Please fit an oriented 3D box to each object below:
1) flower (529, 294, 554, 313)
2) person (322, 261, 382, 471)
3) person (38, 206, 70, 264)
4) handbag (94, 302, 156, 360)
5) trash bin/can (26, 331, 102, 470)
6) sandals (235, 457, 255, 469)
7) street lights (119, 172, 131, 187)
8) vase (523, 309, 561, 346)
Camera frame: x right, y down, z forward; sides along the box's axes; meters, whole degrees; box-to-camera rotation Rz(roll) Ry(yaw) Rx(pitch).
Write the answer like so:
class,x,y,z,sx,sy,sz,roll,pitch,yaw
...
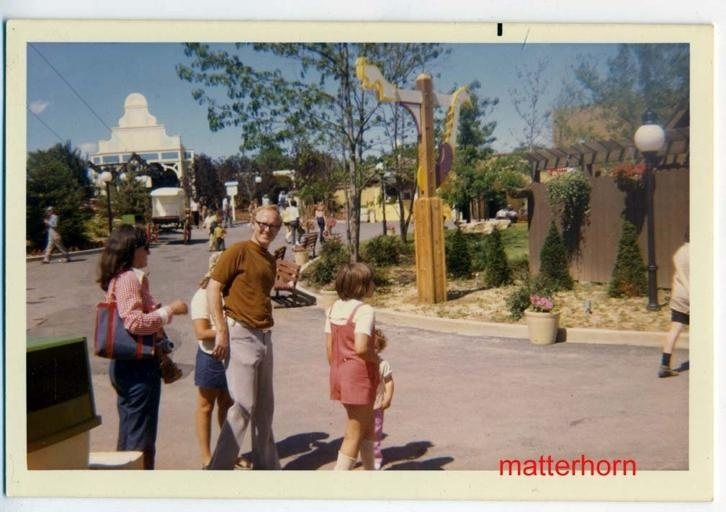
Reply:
class,x,y,z,sx,sy,sz,roll,pitch,yaw
flower,3.102,0.840,12.675,0.314,0.255,0.339,1,3,29
person,-0.121,1.317,8.488,0.611,2.457,0.428,0,3,-3
person,-8.537,-0.573,20.334,0.694,1.600,2.215,-1,3,-23
handbag,-2.770,0.897,8.558,0.549,0.596,0.225,-2,-15,-5
trash bin/can,-3.573,1.767,9.344,1.203,2.059,1.287,0,-3,-23
sandals,-1.498,2.644,9.265,0.213,0.113,0.315,7,5,-5
street lights,-8.404,-2.718,25.847,0.337,0.410,0.335,-1,-3,-4
vase,3.104,1.238,12.679,0.534,0.454,0.542,4,-7,-28
